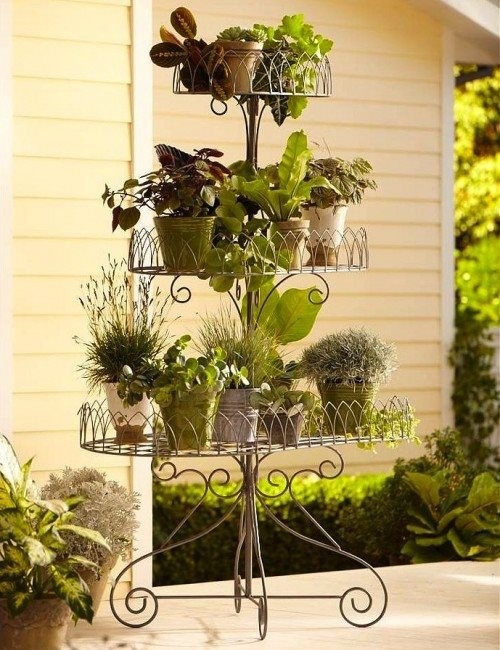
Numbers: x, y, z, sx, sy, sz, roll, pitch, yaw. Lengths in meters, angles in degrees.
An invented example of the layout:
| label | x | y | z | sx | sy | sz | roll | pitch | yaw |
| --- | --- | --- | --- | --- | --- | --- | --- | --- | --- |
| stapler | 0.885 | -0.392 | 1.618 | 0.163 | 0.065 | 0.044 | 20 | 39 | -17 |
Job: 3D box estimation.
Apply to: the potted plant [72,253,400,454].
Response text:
| label | x | y | z | sx | sy | sz | roll | pitch | yaw |
| --- | --- | --- | --- | --- | --- | --- | --- | --- | --- |
| potted plant | -0.079 | 0.202 | 3.093 | 1.180 | 0.668 | 0.697 | 1 | -6 | -15 |

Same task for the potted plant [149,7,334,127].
| label | x | y | z | sx | sy | sz | roll | pitch | yaw |
| --- | --- | --- | --- | --- | --- | --- | --- | --- | --- |
| potted plant | -0.037 | -0.798 | 2.983 | 0.553 | 0.322 | 0.355 | -1 | 3 | -14 |

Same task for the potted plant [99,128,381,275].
| label | x | y | z | sx | sy | sz | roll | pitch | yaw |
| --- | --- | --- | --- | --- | --- | --- | --- | --- | --- |
| potted plant | -0.033 | -0.296 | 2.946 | 0.763 | 0.324 | 0.494 | 1 | -2 | -22 |

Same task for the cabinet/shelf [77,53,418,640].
| label | x | y | z | sx | sy | sz | roll | pitch | yaw |
| --- | --- | --- | --- | --- | --- | --- | --- | --- | --- |
| cabinet/shelf | -0.017 | 0.010 | 3.079 | 1.205 | 1.901 | 0.821 | 3 | -4 | -15 |
